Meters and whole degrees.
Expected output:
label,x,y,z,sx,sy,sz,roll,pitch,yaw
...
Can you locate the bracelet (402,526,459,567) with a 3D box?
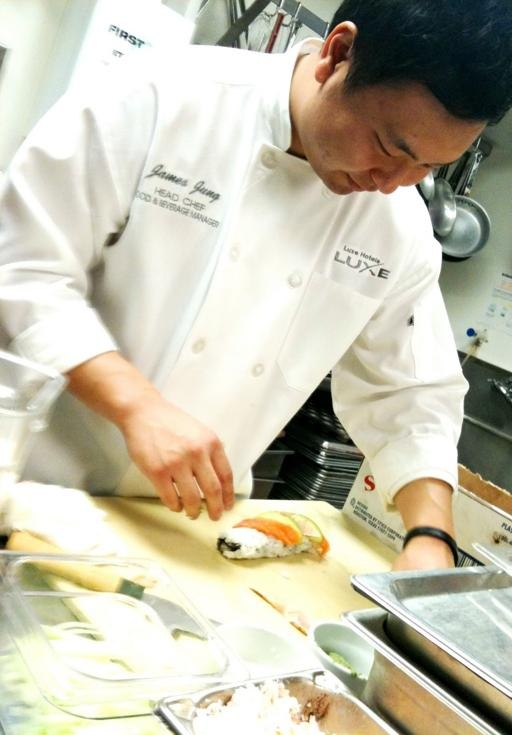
label,x,y,z,sx,sy,sz,roll,pitch,yaw
bracelet,0.321,0.303,1.030,0.106,0.072,0.101,1,12,7
